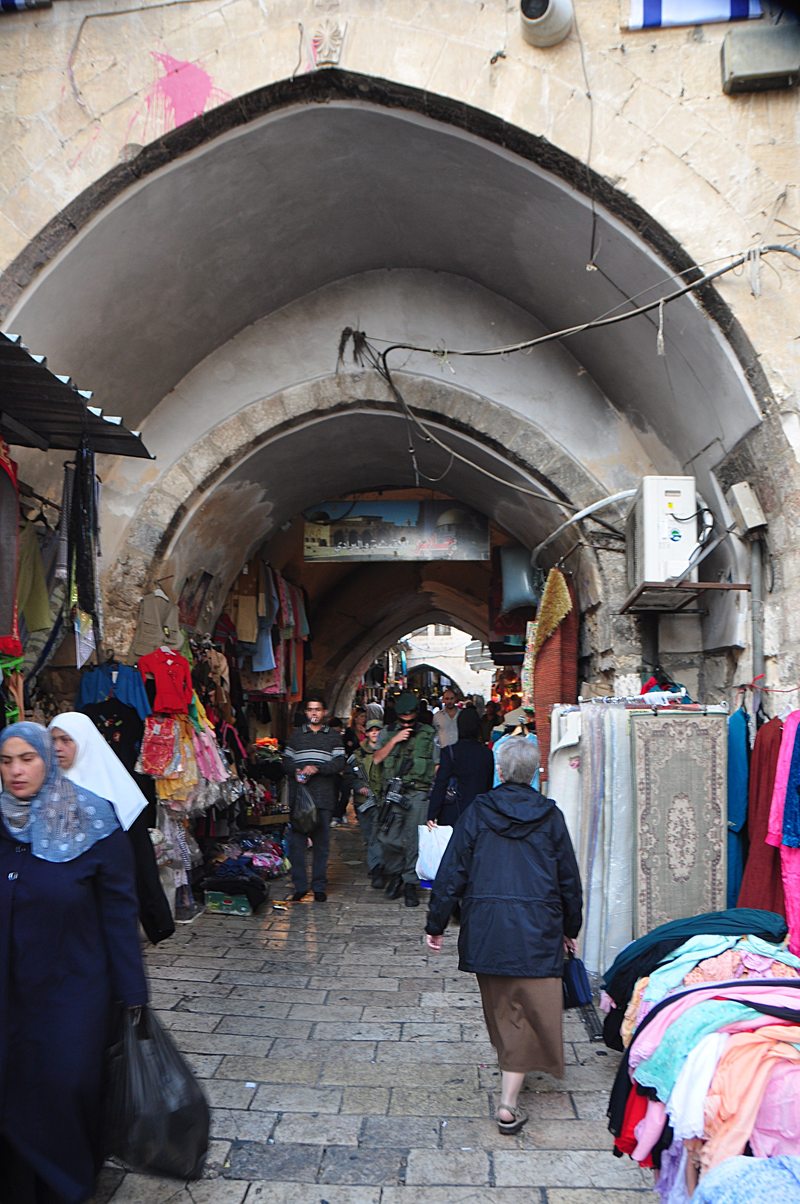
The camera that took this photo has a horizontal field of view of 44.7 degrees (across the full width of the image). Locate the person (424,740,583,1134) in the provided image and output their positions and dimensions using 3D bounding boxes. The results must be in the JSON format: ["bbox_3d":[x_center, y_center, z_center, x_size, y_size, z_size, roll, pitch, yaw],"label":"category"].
[{"bbox_3d":[0.375,1.147,3.458,0.548,1.305,0.348,1,-5,3],"label":"person"}]

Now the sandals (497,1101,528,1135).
[{"bbox_3d":[0.387,1.747,3.273,0.107,0.081,0.091,2,-6,-8],"label":"sandals"}]

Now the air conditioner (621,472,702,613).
[{"bbox_3d":[1.624,-0.639,5.714,0.337,0.746,0.870,1,37,17],"label":"air conditioner"}]

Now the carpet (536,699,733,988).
[{"bbox_3d":[1.120,1.091,4.726,0.821,1.268,1.073,3,2,1],"label":"carpet"}]

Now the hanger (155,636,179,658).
[{"bbox_3d":[-1.600,0.313,6.731,0.116,0.142,0.122,-17,-8,-30],"label":"hanger"}]
